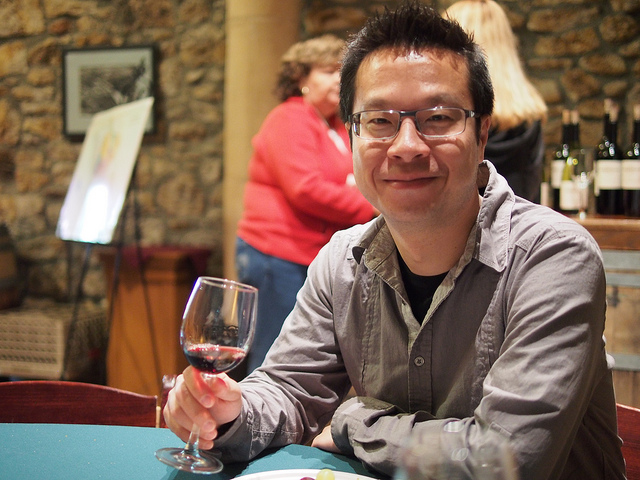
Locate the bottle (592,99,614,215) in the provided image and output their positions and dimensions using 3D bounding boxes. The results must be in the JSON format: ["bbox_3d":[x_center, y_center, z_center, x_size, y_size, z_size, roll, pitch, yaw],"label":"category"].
[{"bbox_3d":[1.594,-0.471,3.666,0.122,0.609,0.126,-3,9,0],"label":"bottle"}]

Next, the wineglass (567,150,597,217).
[{"bbox_3d":[1.302,-0.272,3.233,0.106,0.316,0.116,3,-3,14],"label":"wineglass"}]

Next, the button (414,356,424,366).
[{"bbox_3d":[0.279,0.339,1.836,0.022,0.026,0.006,-2,0,13],"label":"button"}]

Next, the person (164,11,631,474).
[{"bbox_3d":[0.228,-0.021,1.765,1.024,1.202,0.679,0,12,14],"label":"person"}]

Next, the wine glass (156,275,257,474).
[{"bbox_3d":[-0.290,0.334,1.620,0.142,0.462,0.281,8,15,41],"label":"wine glass"}]
